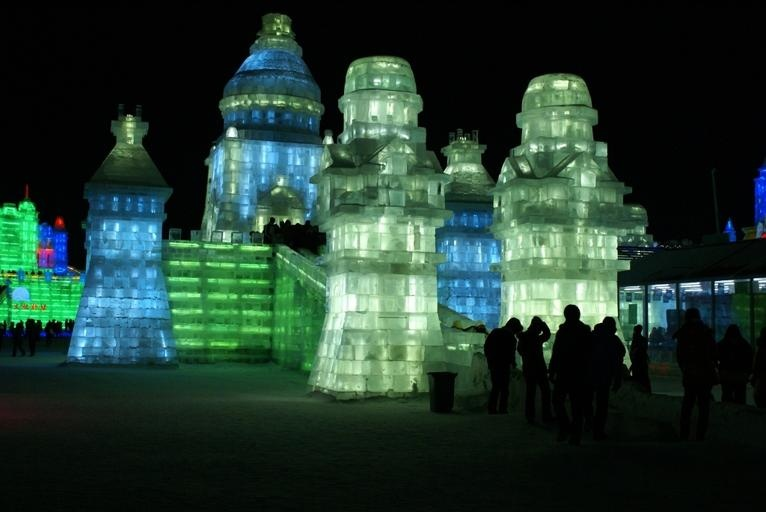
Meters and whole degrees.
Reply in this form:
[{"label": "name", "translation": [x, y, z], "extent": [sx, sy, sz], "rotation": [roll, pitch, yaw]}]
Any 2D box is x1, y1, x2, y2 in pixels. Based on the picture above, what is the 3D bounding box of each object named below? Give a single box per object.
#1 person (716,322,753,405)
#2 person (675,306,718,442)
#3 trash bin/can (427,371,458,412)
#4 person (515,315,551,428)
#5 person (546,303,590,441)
[{"label": "person", "translation": [8.119, 2.489, 22.819], "extent": [0.757, 1.800, 0.864], "rotation": [-2, -9, 18]}, {"label": "person", "translation": [6.392, 2.406, 20.194], "extent": [0.764, 2.633, 0.568], "rotation": [-2, -9, 17]}, {"label": "trash bin/can", "translation": [1.672, 3.282, 23.701], "extent": [0.951, 0.938, 0.801], "rotation": [12, -17, -28]}, {"label": "person", "translation": [3.419, 2.555, 22.172], "extent": [0.675, 2.343, 0.861], "rotation": [-3, -10, 24]}, {"label": "person", "translation": [3.845, 2.403, 20.234], "extent": [0.904, 2.828, 0.477], "rotation": [-4, -10, 28]}]
